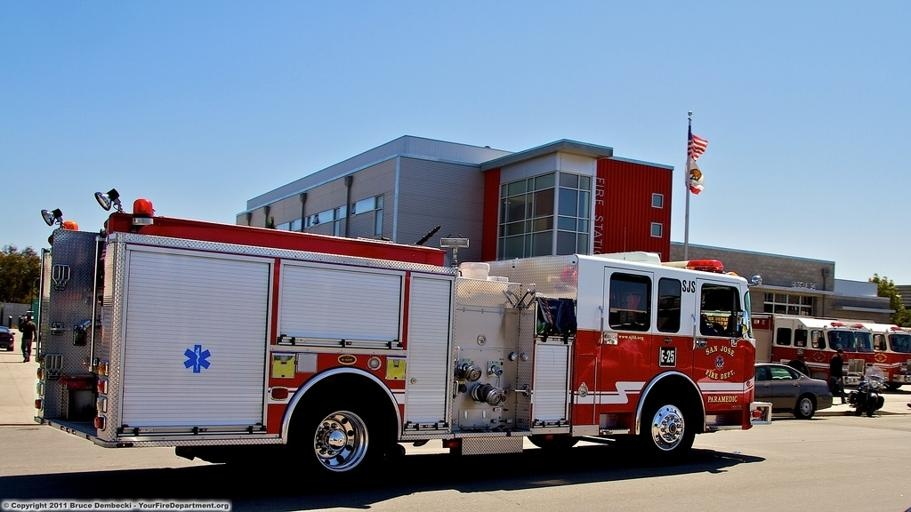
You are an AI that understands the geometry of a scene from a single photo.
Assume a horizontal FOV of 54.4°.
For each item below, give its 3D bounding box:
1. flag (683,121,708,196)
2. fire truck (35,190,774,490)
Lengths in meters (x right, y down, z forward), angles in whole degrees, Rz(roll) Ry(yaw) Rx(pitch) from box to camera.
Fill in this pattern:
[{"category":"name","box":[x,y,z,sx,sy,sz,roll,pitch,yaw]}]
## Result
[{"category":"flag","box":[9.260,-3.724,34.239,0.659,2.531,1.628,2,1,14]},{"category":"fire truck","box":[-0.306,1.727,18.996,15.464,4.320,3.498,2,1,-26]}]
